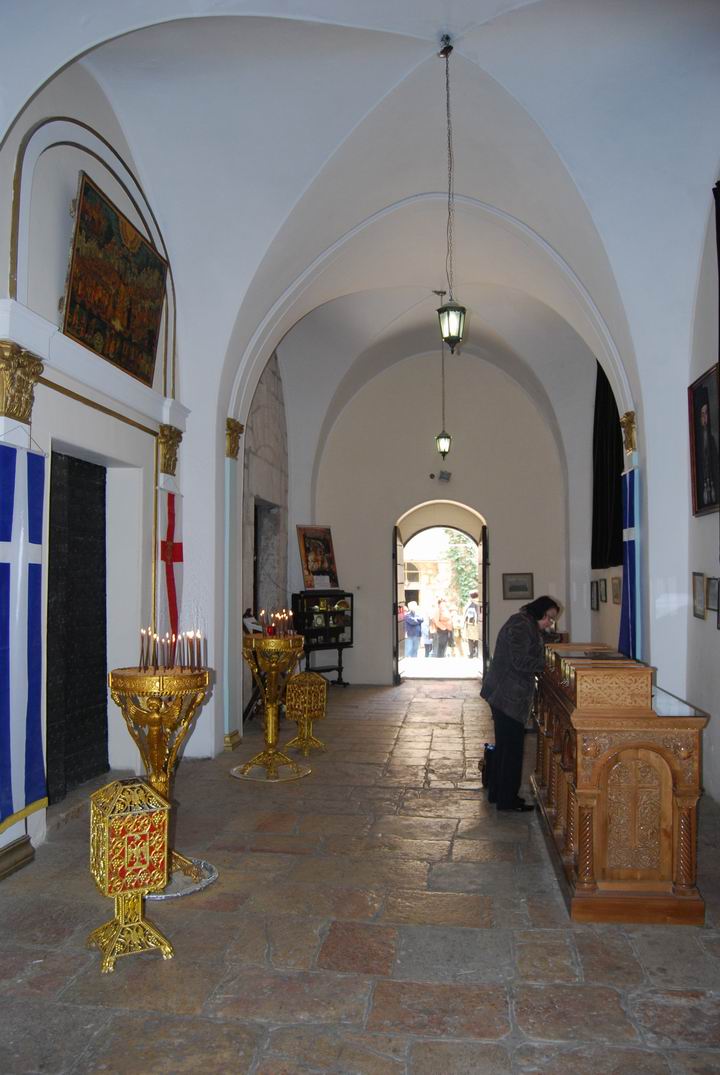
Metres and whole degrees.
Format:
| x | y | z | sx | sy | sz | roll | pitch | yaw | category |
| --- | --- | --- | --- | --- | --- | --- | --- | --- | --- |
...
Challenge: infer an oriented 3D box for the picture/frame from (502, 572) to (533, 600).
| x | y | z | sx | sy | sz | roll | pitch | yaw | category |
| --- | --- | --- | --- | --- | --- | --- | --- | --- | --- |
| 2.572 | 0.791 | 12.428 | 0.345 | 0.408 | 0.041 | 1 | -10 | -1 | picture/frame |

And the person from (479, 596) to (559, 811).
| x | y | z | sx | sy | sz | roll | pitch | yaw | category |
| --- | --- | --- | --- | --- | --- | --- | --- | --- | --- |
| 1.114 | 1.148 | 5.258 | 0.462 | 1.498 | 0.824 | 1 | -4 | -6 | person |
